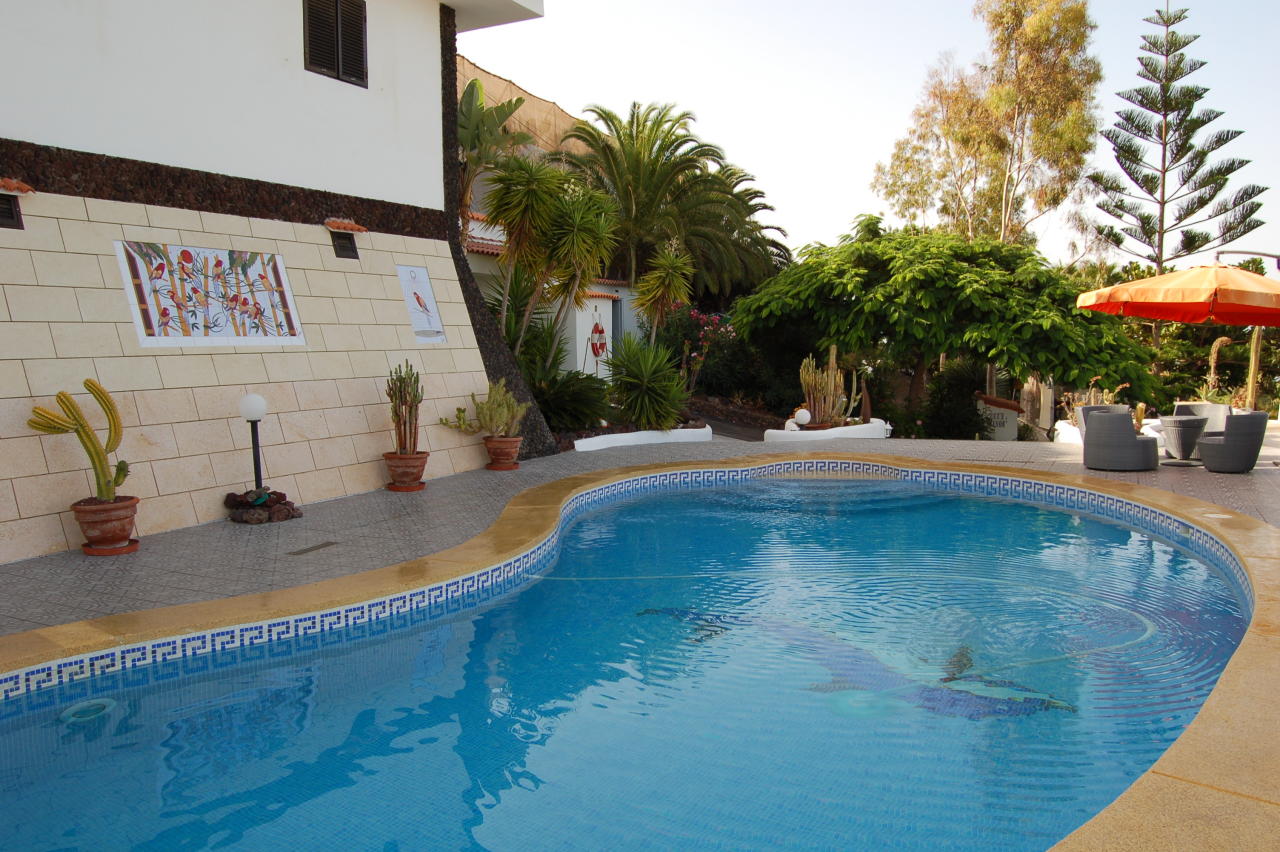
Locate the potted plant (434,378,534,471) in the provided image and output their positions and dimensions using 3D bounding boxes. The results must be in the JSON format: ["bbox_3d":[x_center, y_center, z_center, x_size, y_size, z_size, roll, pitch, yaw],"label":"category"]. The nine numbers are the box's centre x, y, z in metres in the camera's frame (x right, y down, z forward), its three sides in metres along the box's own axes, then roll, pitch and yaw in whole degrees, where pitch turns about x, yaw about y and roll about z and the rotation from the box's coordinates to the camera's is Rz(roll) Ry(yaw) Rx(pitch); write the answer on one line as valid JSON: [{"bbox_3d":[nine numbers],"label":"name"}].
[{"bbox_3d":[-2.051,0.131,11.981,0.989,1.424,1.433,-3,4,20],"label":"potted plant"}]

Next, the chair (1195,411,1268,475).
[{"bbox_3d":[8.821,0.420,11.612,0.931,1.068,1.096,2,0,32],"label":"chair"}]

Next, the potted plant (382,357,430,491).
[{"bbox_3d":[-3.181,0.077,10.474,0.558,1.788,1.360,-5,14,-19],"label":"potted plant"}]

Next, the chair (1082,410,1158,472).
[{"bbox_3d":[7.172,0.311,11.976,1.007,0.938,1.067,-3,2,-5],"label":"chair"}]

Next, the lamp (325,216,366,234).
[{"bbox_3d":[-4.133,-3.182,11.028,0.151,0.274,0.665,7,14,29],"label":"lamp"}]

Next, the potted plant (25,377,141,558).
[{"bbox_3d":[-5.337,0.503,7.554,0.726,1.840,1.177,-10,16,-35],"label":"potted plant"}]

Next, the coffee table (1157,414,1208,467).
[{"bbox_3d":[8.437,0.356,12.191,0.734,0.775,0.727,0,11,-4],"label":"coffee table"}]
